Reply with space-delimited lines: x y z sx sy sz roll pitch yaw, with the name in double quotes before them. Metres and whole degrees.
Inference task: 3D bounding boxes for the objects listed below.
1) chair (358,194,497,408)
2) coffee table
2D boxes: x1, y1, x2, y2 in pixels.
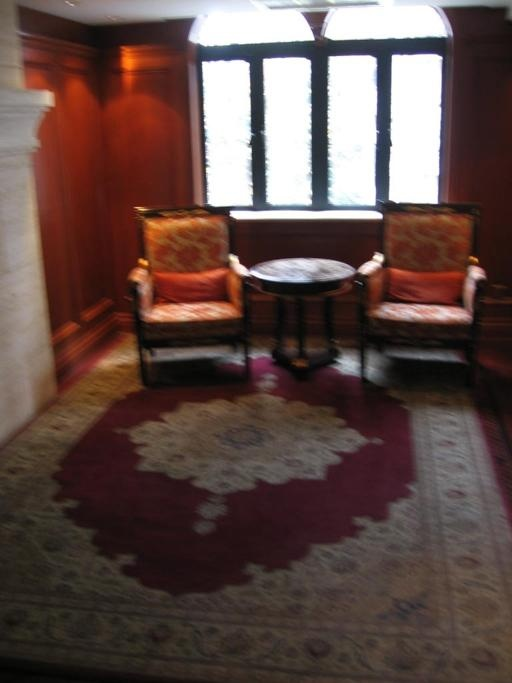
"chair" 1.115 -0.318 3.811 0.791 1.033 0.691 8 23 24
"coffee table" 0.328 -0.159 3.996 0.714 0.630 0.715 1 -2 12
